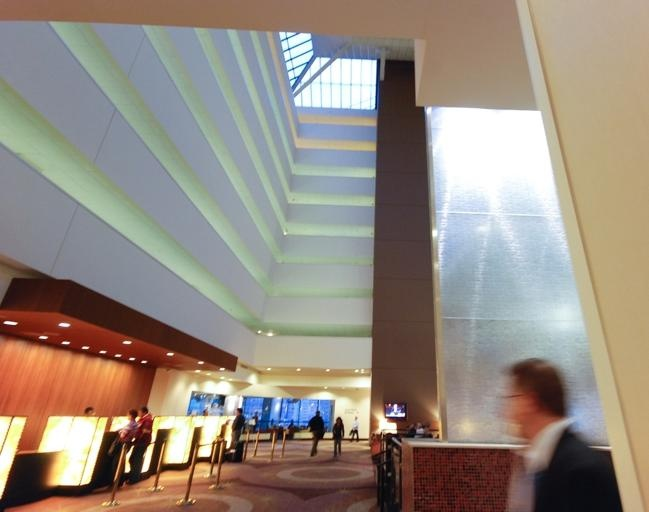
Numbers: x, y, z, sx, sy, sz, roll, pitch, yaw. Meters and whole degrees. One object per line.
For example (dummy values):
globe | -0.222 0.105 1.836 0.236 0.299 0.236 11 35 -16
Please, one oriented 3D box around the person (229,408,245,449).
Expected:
person | -2.075 4.112 9.753 0.261 0.890 0.745 7 -21 -10

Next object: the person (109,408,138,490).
person | -3.167 2.990 6.387 0.341 1.103 0.799 11 -23 -20

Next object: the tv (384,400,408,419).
tv | 2.360 5.087 13.495 0.630 0.439 0.155 1 -41 4
